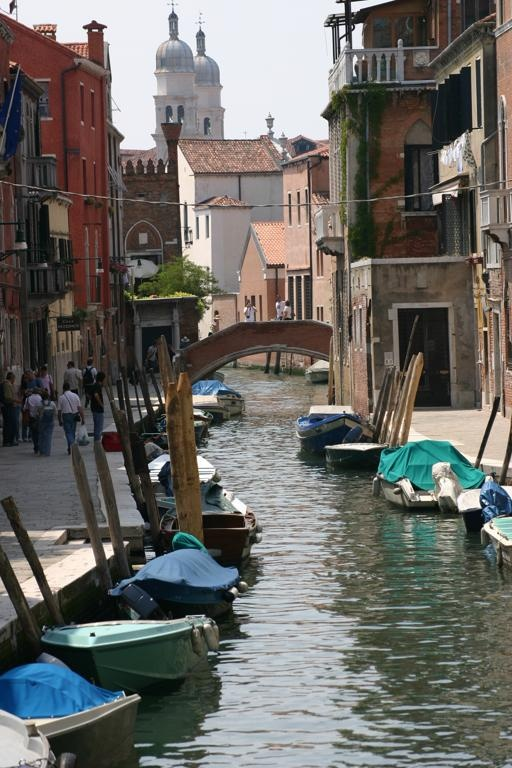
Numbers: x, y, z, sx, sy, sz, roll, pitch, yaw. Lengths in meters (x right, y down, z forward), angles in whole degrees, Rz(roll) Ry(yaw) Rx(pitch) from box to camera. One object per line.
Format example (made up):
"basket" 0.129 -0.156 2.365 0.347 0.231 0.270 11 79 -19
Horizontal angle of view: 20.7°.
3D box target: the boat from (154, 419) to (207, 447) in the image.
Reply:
"boat" -2.058 1.389 42.198 0.757 0.924 2.526 -3 1 4

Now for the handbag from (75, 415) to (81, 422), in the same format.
"handbag" -4.003 0.744 31.555 0.121 0.133 0.221 -3 -6 -3

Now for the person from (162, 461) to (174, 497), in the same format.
"person" -1.559 1.693 24.991 0.217 0.238 0.750 -9 39 -2

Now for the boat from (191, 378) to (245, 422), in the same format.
"boat" -1.397 0.576 51.101 1.067 1.010 2.271 1 9 7

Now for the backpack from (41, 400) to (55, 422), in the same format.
"backpack" -4.381 0.556 29.493 0.372 0.625 0.308 1 -3 -9

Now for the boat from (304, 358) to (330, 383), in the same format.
"boat" 2.953 -0.643 66.662 1.333 1.603 4.024 2 -3 2

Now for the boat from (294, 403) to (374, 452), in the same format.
"boat" 2.088 1.149 36.383 1.037 0.923 3.551 -3 0 -1
